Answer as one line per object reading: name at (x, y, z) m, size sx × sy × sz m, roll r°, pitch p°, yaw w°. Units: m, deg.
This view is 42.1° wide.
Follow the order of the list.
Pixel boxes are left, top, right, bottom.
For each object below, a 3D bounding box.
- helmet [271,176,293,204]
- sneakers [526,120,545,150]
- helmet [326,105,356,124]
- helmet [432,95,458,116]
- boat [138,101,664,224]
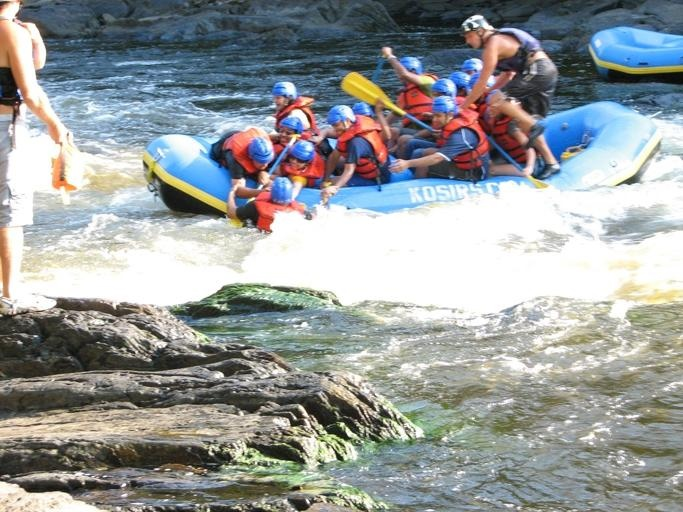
helmet at (-0.664, -0.747, 10.052) m, size 0.277 × 0.298 × 0.202 m, roll -2°, pitch 7°, yaw -13°
sneakers at (2.316, -1.471, 10.528) m, size 0.197 × 0.150 × 0.405 m, roll -22°, pitch -19°, yaw -6°
helmet at (0.006, -1.672, 10.517) m, size 0.316 × 0.250 × 0.268 m, roll 0°, pitch 5°, yaw 0°
helmet at (1.229, -1.794, 10.479) m, size 0.273 × 0.230 × 0.259 m, roll 2°, pitch 6°, yaw 22°
boat at (0.974, -1.038, 10.774) m, size 6.127 × 0.587 × 2.122 m, roll -3°, pitch 17°, yaw -7°
